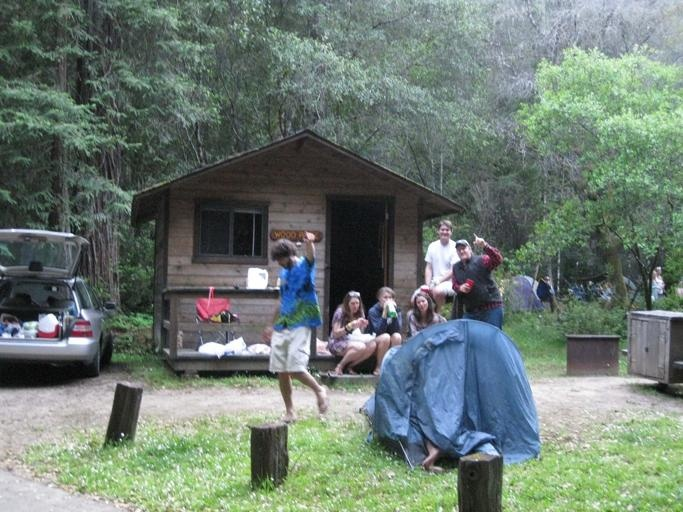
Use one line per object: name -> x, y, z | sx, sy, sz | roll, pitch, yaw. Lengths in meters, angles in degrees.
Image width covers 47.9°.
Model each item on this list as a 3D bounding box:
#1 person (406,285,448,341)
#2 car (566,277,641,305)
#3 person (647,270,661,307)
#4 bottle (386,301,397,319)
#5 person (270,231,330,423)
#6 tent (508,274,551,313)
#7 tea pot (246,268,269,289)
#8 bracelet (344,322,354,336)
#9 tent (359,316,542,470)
person -> 1.445, 1.066, 13.189 | 0.692, 0.971, 0.778 | -3, -10, -39
car -> 8.989, 1.204, 27.632 | 1.478, 0.854, 5.676 | 0, -3, 18
person -> 9.803, 0.888, 23.794 | 0.339, 1.142, 3.151 | 0, -3, 23
bottle -> 0.901, 0.978, 14.005 | 0.185, 0.307, 0.086 | -2, -2, -34
person -> -0.604, 1.035, 10.797 | 0.800, 2.682, 0.785 | 1, -2, -4
tent -> 6.065, 1.263, 25.516 | 0.780, 1.538, 2.466 | 0, 6, 38
tea pot -> -1.716, 0.473, 15.611 | 0.491, 0.649, 0.331 | 0, -5, -5
bracelet -> 0.136, 1.323, 14.042 | 0.144, 0.223, 0.077 | -1, -1, -2
tent -> 1.618, 1.787, 11.214 | 2.389, 1.846, 3.706 | -3, 0, -4
